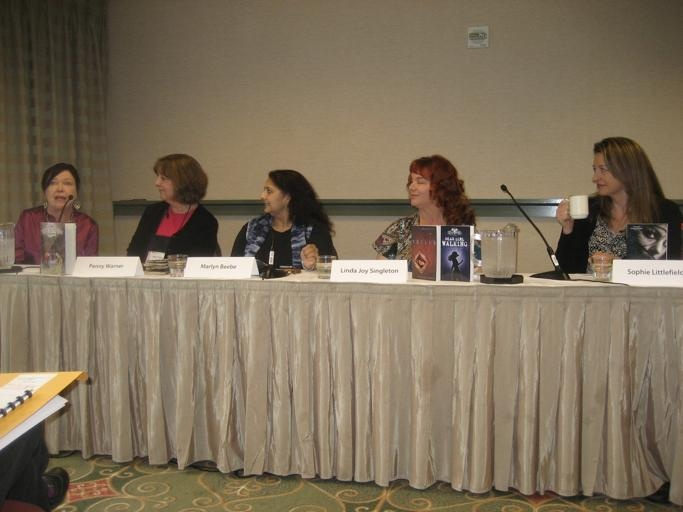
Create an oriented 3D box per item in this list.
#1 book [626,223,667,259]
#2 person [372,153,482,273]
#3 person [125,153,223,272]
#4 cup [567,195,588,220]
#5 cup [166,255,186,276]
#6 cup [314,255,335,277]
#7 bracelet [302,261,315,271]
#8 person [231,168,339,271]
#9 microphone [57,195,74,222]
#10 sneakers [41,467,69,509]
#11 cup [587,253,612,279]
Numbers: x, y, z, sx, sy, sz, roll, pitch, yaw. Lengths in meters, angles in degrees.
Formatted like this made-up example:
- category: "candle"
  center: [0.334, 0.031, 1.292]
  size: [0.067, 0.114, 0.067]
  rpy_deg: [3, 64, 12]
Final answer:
- category: "book"
  center: [1.634, -0.075, 4.180]
  size: [0.160, 0.166, 0.023]
  rpy_deg: [0, 4, 10]
- category: "person"
  center: [0.476, -0.184, 5.201]
  size: [0.557, 0.939, 0.920]
  rpy_deg: [8, -10, -31]
- category: "person"
  center: [-1.140, -0.229, 5.407]
  size: [0.641, 0.941, 0.516]
  rpy_deg: [9, 13, 27]
- category: "cup"
  center: [1.283, -0.264, 4.294]
  size: [0.081, 0.123, 0.132]
  rpy_deg: [0, -2, -22]
- category: "cup"
  center: [-0.901, 0.050, 4.265]
  size: [0.096, 0.118, 0.100]
  rpy_deg: [0, 0, 0]
- category: "cup"
  center: [-0.094, 0.058, 4.230]
  size: [0.099, 0.108, 0.097]
  rpy_deg: [1, 1, 0]
- category: "bracelet"
  center: [-0.205, 0.061, 4.763]
  size: [0.063, 0.055, 0.050]
  rpy_deg: [-1, 3, -28]
- category: "person"
  center: [-0.400, -0.184, 5.267]
  size: [0.681, 0.740, 0.417]
  rpy_deg: [0, -1, 23]
- category: "microphone"
  center: [-1.714, -0.292, 4.872]
  size: [0.108, 0.161, 0.034]
  rpy_deg: [-3, 12, -36]
- category: "sneakers"
  center: [-1.481, 1.190, 4.055]
  size: [0.082, 0.110, 0.259]
  rpy_deg: [5, 13, -10]
- category: "cup"
  center: [1.378, 0.056, 4.197]
  size: [0.121, 0.146, 0.126]
  rpy_deg: [0, -2, 0]
